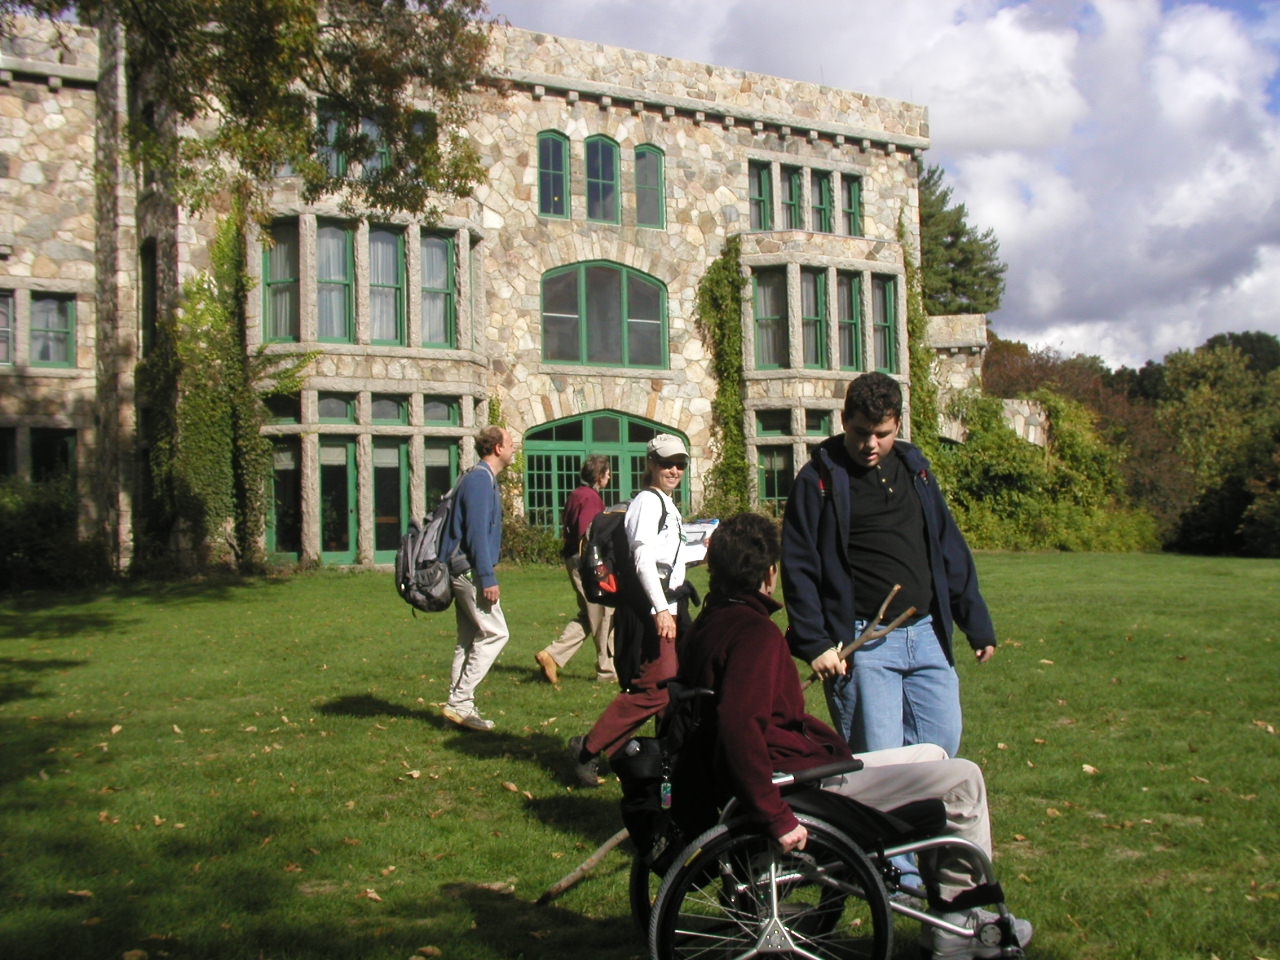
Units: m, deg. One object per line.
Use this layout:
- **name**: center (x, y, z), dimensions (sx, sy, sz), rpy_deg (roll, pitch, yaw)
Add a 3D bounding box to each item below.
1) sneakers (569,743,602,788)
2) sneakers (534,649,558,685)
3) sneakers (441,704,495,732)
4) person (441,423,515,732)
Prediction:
- **sneakers**: center (-0.430, 2.201, 8.708), dimensions (0.168, 0.443, 0.196), rpy_deg (-9, 9, 11)
- **sneakers**: center (-0.980, 1.884, 11.897), dimensions (0.186, 0.463, 0.155), rpy_deg (-14, 14, -1)
- **sneakers**: center (-1.524, 2.117, 10.202), dimensions (0.520, 0.236, 0.192), rpy_deg (20, -1, -16)
- **person**: center (-1.455, 0.905, 10.135), dimensions (0.634, 2.736, 0.756), rpy_deg (-2, 9, -9)
